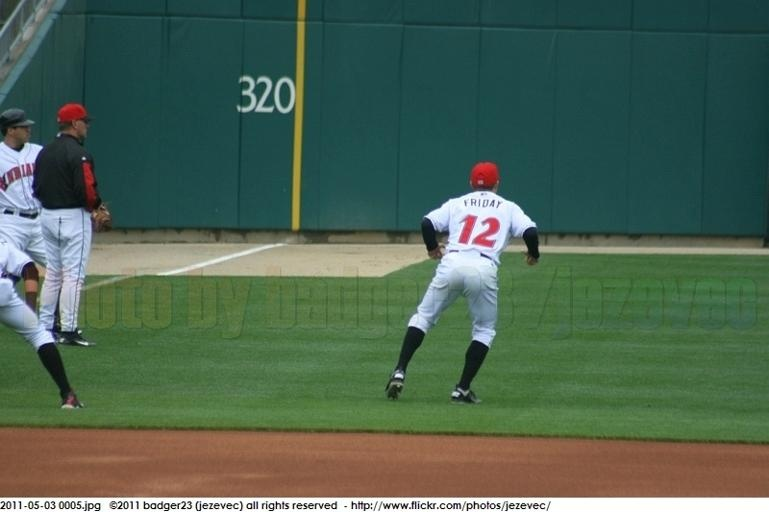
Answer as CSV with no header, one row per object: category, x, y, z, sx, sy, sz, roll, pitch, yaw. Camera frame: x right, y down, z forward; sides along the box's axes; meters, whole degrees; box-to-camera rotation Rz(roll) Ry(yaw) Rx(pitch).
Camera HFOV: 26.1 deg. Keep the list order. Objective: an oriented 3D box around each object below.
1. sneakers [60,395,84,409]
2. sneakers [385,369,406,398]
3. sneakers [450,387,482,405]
sneakers,-4.439,2.055,23.576,0.141,0.140,0.330,1,-1,35
sneakers,0.138,1.833,24.051,0.195,0.478,0.234,6,53,-2
sneakers,1.141,2.009,24.240,0.459,0.182,0.186,5,3,-12
